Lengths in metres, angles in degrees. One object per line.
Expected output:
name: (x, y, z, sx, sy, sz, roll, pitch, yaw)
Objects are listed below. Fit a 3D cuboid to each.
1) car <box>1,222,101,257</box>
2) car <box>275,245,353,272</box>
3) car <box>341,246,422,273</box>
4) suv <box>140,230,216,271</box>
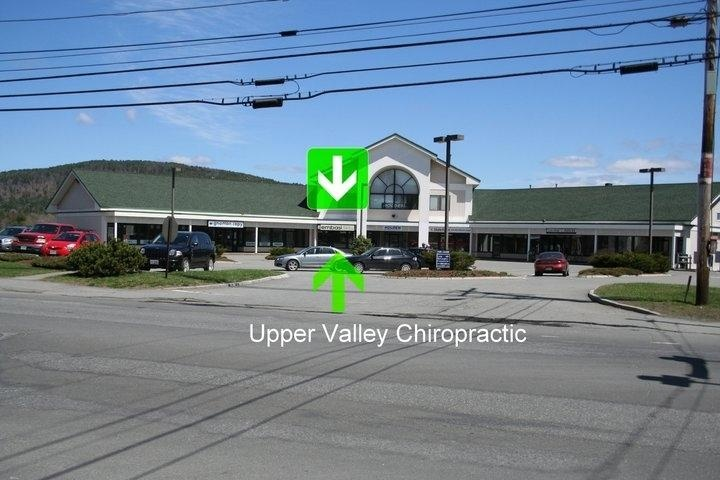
car: (-17.108, -0.023, 36.170, 3.486, 1.276, 5.596, -3, 9, -28)
car: (-3.057, 1.113, 39.419, 3.925, 1.302, 1.623, 2, -2, -5)
car: (1.425, 0.966, 39.000, 3.777, 1.302, 1.635, 3, -4, -1)
suv: (-8.836, 0.553, 32.750, 1.717, 1.446, 3.273, -1, -4, 16)
